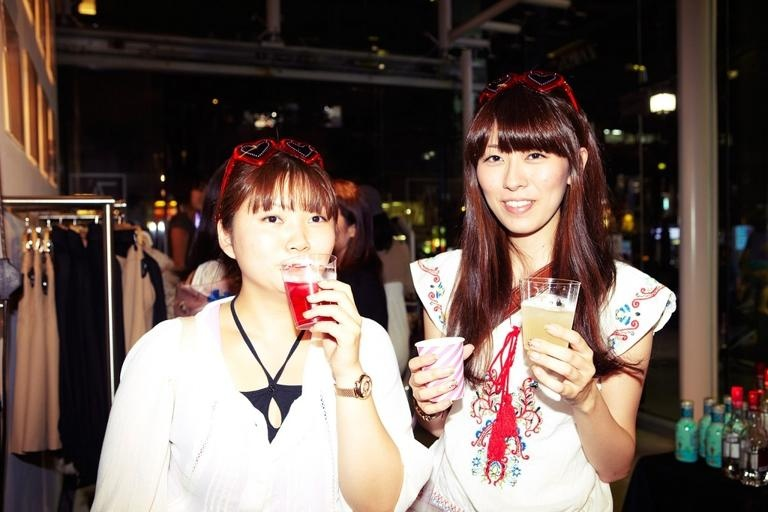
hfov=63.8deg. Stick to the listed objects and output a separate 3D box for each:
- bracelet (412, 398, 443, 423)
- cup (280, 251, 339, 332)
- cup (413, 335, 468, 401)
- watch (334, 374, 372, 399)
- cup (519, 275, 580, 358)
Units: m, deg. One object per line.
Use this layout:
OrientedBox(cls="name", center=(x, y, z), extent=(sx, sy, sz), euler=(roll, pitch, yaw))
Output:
OrientedBox(cls="bracelet", center=(0.203, 0.758, 3.004), extent=(0.052, 0.145, 0.122), euler=(-33, 11, -27))
OrientedBox(cls="cup", center=(-0.319, 0.147, 2.695), extent=(0.262, 0.326, 0.285), euler=(-1, -4, 0))
OrientedBox(cls="cup", center=(0.274, 0.500, 2.875), extent=(0.252, 0.278, 0.261), euler=(-5, 2, 0))
OrientedBox(cls="watch", center=(-0.127, 0.568, 2.707), extent=(0.112, 0.117, 0.070), euler=(-10, -16, 17))
OrientedBox(cls="cup", center=(0.709, 0.255, 2.720), extent=(0.265, 0.342, 0.296), euler=(2, -9, 0))
